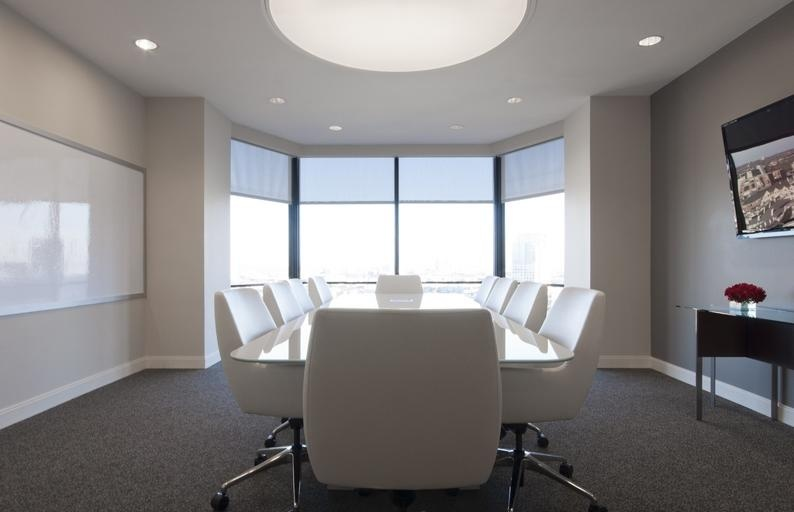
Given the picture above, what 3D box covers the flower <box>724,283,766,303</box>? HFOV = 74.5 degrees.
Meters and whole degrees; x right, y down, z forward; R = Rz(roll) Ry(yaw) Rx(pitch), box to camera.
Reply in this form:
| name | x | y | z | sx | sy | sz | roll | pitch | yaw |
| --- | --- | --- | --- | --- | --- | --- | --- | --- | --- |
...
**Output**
| name | x | y | z | sx | sy | sz | roll | pitch | yaw |
| --- | --- | --- | --- | --- | --- | --- | --- | --- | --- |
| flower | 3.412 | 0.369 | 5.105 | 0.296 | 0.184 | 0.250 | -1 | 3 | -18 |
